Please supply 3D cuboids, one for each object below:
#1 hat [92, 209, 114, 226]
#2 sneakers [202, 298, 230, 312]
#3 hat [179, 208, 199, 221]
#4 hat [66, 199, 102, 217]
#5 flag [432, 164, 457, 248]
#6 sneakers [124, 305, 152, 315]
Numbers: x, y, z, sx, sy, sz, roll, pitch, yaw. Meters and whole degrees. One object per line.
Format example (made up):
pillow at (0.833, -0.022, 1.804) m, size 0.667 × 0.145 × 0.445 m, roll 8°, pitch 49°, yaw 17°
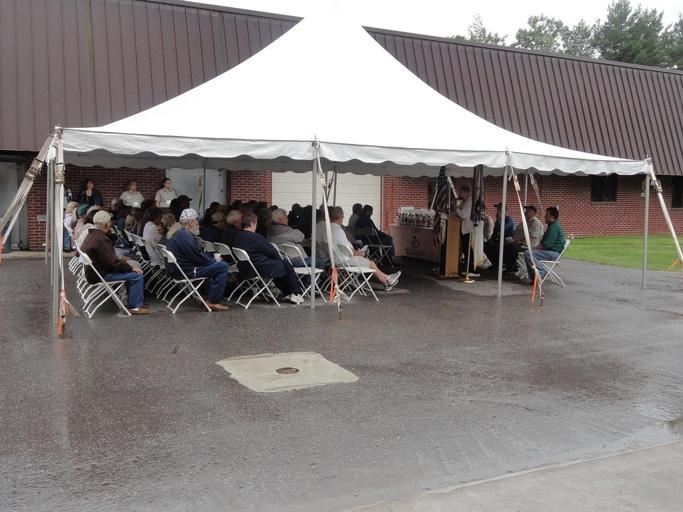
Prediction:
hat at (-3.552, -0.573, 8.229) m, size 0.185 × 0.143 × 0.261 m, roll -2°, pitch 25°, yaw 11°
sneakers at (-2.038, 0.825, 8.891) m, size 0.444 × 0.176 × 0.159 m, roll 1°, pitch 2°, yaw -19°
hat at (-2.409, -0.658, 8.827) m, size 0.245 × 0.176 × 0.343 m, roll 2°, pitch 5°, yaw 13°
hat at (-5.968, -1.066, 12.431) m, size 1.082 × 0.382 × 0.776 m, roll -2°, pitch -1°, yaw -28°
flag at (2.530, -1.237, 13.315) m, size 0.528 × 2.001 × 2.275 m, roll 1°, pitch 4°, yaw 10°
sneakers at (-3.149, 0.865, 8.616) m, size 0.306 × 0.202 × 0.114 m, roll -1°, pitch 5°, yaw -15°
